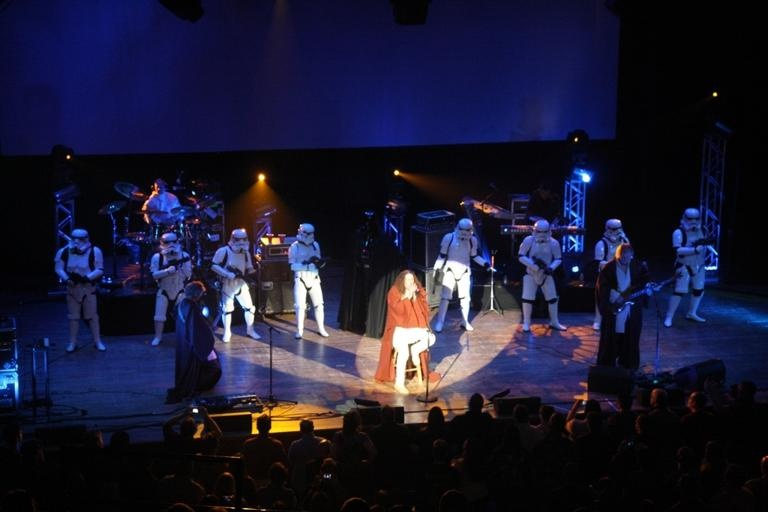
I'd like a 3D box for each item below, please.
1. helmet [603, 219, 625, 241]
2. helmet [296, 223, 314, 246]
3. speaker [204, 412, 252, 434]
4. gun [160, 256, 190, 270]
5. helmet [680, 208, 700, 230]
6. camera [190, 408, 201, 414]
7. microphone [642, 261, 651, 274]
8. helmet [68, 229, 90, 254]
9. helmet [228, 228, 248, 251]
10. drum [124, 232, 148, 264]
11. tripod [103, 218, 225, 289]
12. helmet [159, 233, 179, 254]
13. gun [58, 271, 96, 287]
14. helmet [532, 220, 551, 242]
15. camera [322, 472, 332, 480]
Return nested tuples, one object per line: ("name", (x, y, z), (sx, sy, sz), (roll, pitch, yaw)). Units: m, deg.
("helmet", (5.265, -0.583, 15.799), (0.506, 0.514, 0.539), (-1, 1, -12))
("helmet", (-1.722, -0.470, 15.291), (0.371, 0.466, 0.480), (0, -2, -33))
("speaker", (-2.354, 2.649, 10.967), (0.593, 0.274, 0.307), (4, 25, -4))
("gun", (-4.468, 0.156, 14.791), (0.666, 0.269, 0.190), (-4, 8, -33))
("helmet", (7.164, -0.848, 16.121), (0.466, 0.541, 0.576), (1, -2, 8))
("camera", (-3.051, 2.530, 11.242), (0.164, 0.108, 0.150), (1, 8, -3))
("microphone", (6.137, 0.267, 16.292), (0.106, 0.349, 0.317), (-8, 13, 8))
("helmet", (-6.385, -0.275, 14.628), (0.447, 0.497, 0.519), (-1, -5, -9))
("helmet", (-3.214, -0.345, 15.362), (0.471, 0.452, 0.419), (-2, 7, 0))
("drum", (-6.485, -0.219, 18.285), (0.683, 0.781, 0.711), (-8, 29, -18))
("tripod", (-5.376, -0.045, 17.261), (1.823, 1.329, 3.662), (3, -31, -34))
("helmet", (-4.591, -0.271, 14.890), (0.401, 0.365, 0.467), (1, -12, -18))
("gun", (-6.254, 0.513, 14.289), (0.390, 0.163, 0.398), (-18, -42, 29))
("helmet", (3.594, -0.573, 15.851), (0.411, 0.410, 0.487), (0, 0, 7))
("camera", (-0.717, 2.823, 8.879), (0.117, 0.077, 0.064), (0, -3, -2))
